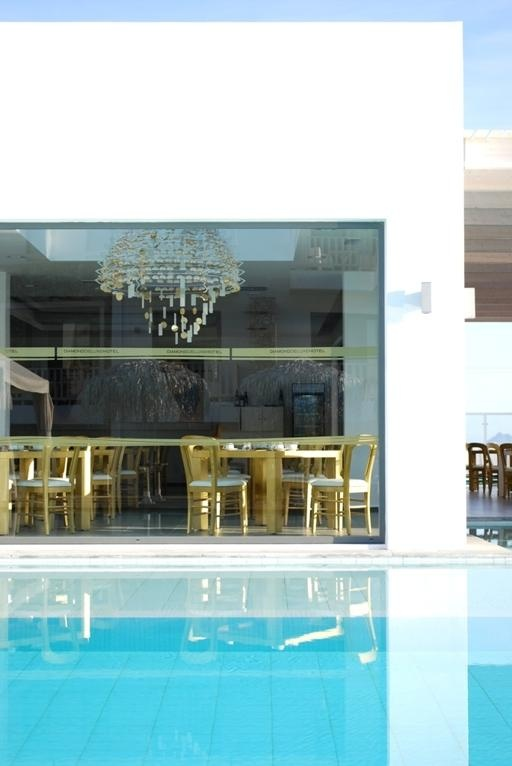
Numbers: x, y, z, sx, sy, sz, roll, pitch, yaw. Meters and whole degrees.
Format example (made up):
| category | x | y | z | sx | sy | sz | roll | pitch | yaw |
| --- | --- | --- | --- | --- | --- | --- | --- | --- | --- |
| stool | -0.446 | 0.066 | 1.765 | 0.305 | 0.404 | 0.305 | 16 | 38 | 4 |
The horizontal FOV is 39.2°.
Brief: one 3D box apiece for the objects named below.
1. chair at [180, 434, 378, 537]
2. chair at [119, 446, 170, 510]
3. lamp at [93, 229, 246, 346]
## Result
| category | x | y | z | sx | sy | sz | roll | pitch | yaw |
| --- | --- | --- | --- | --- | --- | --- | --- | --- | --- |
| chair | 0.173 | 0.814 | 6.493 | 1.237 | 0.724 | 0.962 | -1 | -2 | 1 |
| chair | -0.987 | 0.803 | 6.204 | 0.445 | 0.765 | 0.461 | 3 | -6 | -20 |
| lamp | -0.742 | -0.907 | 6.658 | 1.045 | 0.774 | 1.088 | 0 | -5 | -2 |
